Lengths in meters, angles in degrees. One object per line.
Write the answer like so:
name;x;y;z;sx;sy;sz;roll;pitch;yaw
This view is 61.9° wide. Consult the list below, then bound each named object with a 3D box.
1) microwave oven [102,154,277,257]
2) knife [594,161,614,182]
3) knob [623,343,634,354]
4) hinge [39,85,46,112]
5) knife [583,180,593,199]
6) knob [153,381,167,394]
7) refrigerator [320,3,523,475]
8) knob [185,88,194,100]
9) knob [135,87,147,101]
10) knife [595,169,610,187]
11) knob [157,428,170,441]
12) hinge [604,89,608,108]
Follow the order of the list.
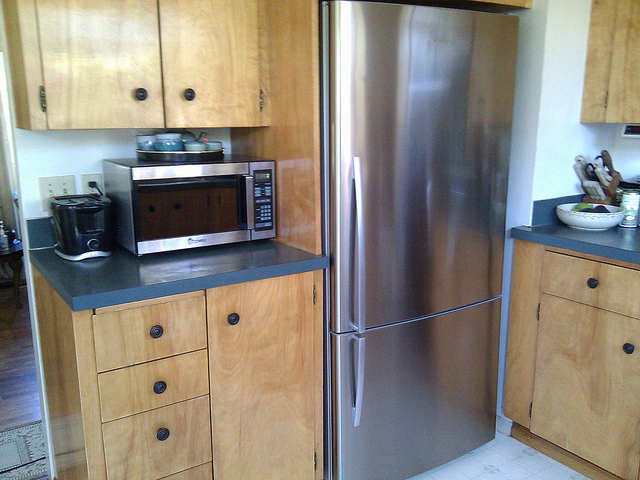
microwave oven;-0.512;-0.153;2.239;0.652;0.358;0.465;-8;16;-34
knife;1.455;-0.353;2.739;0.031;0.127;0.035;-45;8;-11
knob;1.337;0.466;2.307;0.038;0.034;0.041;-6;13;-27
hinge;-1.047;-0.535;2.013;0.023;0.098;0.015;1;18;13
knife;1.390;-0.266;2.763;0.021;0.135;0.020;-21;23;35
knob;-0.588;0.536;1.954;0.043;0.041;0.013;1;5;-39
refrigerator;0.431;0.052;2.366;1.069;2.047;0.352;-12;20;-26
knob;-0.540;-0.605;2.212;0.013;0.043;0.042;14;24;43
knob;-0.714;-0.583;2.131;0.015;0.041;0.043;8;12;41
knife;1.446;-0.319;2.734;0.027;0.092;0.021;-32;3;26
knob;-0.584;0.723;1.988;0.044;0.046;0.024;-9;18;-18
hinge;1.390;-0.687;2.586;0.007;0.079;0.014;-15;21;-31
